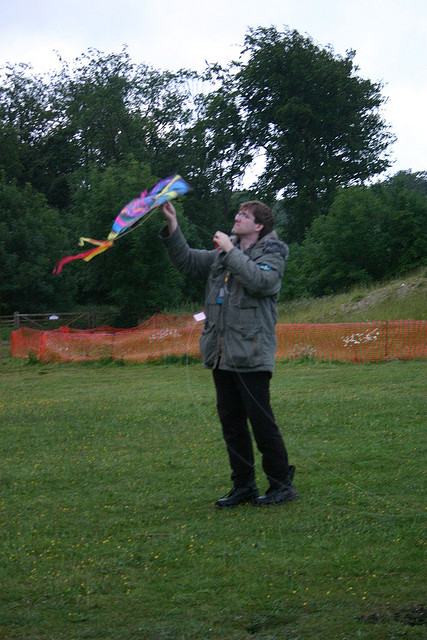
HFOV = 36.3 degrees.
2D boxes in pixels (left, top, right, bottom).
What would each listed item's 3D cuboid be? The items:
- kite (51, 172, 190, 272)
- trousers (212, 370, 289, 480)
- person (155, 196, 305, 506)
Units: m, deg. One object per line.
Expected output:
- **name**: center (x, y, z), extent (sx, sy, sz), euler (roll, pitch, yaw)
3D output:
- **kite**: center (-0.553, -0.539, 3.886), extent (1.089, 0.289, 0.083), euler (-30, -54, 17)
- **trousers**: center (0.211, 0.621, 3.848), extent (0.401, 0.665, 0.274), euler (-3, 4, 18)
- **person**: center (0.146, 0.176, 4.257), extent (0.775, 1.872, 1.241), euler (-4, 4, 7)
